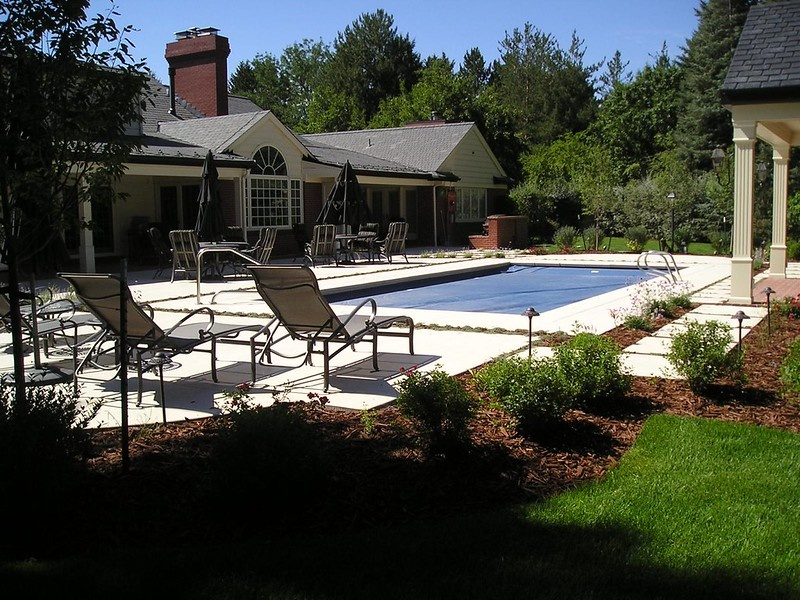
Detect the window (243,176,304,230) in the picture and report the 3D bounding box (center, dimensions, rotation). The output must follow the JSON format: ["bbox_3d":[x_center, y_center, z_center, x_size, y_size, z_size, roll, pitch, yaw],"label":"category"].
[{"bbox_3d":[-3.780,-2.936,20.662,0.365,1.557,2.282,5,11,29],"label":"window"}]

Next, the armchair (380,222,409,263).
[{"bbox_3d":[-0.255,-1.738,20.155,0.724,1.209,1.018,-6,11,-34],"label":"armchair"}]

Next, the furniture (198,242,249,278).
[{"bbox_3d":[-4.201,-0.869,15.924,1.238,0.722,1.279,1,3,38],"label":"furniture"}]

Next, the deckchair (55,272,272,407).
[{"bbox_3d":[-2.145,0.211,6.150,1.275,1.023,1.379,6,11,31],"label":"deckchair"}]

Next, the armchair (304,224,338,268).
[{"bbox_3d":[-2.102,-1.476,17.925,0.710,1.176,0.878,-3,9,-24],"label":"armchair"}]

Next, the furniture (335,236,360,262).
[{"bbox_3d":[-1.525,-1.444,19.182,0.656,0.567,0.711,0,1,0],"label":"furniture"}]

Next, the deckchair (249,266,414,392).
[{"bbox_3d":[-0.630,0.146,6.753,0.856,1.136,1.753,2,7,31],"label":"deckchair"}]

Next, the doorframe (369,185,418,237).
[{"bbox_3d":[-0.184,-3.402,25.983,2.139,2.354,0.329,8,15,31],"label":"doorframe"}]

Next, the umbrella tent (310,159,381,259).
[{"bbox_3d":[-1.438,-2.418,18.897,1.425,2.750,3.548,1,10,6],"label":"umbrella tent"}]

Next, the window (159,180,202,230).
[{"bbox_3d":[-6.373,-2.403,19.595,0.088,1.988,1.626,5,10,30],"label":"window"}]
